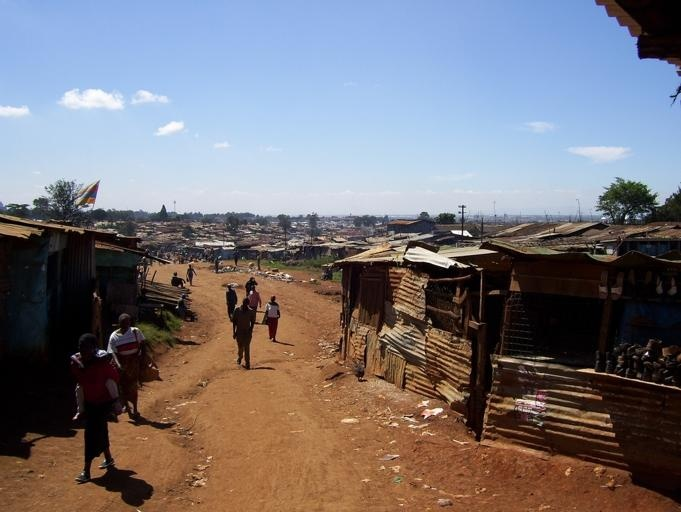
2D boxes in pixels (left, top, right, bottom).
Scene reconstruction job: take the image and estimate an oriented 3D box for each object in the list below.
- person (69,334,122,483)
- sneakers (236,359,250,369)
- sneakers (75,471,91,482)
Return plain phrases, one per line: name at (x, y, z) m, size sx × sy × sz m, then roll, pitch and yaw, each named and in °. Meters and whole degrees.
person at (-3.380, 2.011, 5.896) m, size 0.665 × 1.933 × 0.629 m, roll -9°, pitch 7°, yaw -28°
sneakers at (-2.823, 3.091, 12.494) m, size 0.203 × 0.221 × 0.623 m, roll 2°, pitch -3°, yaw -34°
sneakers at (-3.405, 2.876, 5.680) m, size 0.083 × 0.076 × 0.196 m, roll 3°, pitch -12°, yaw 1°
